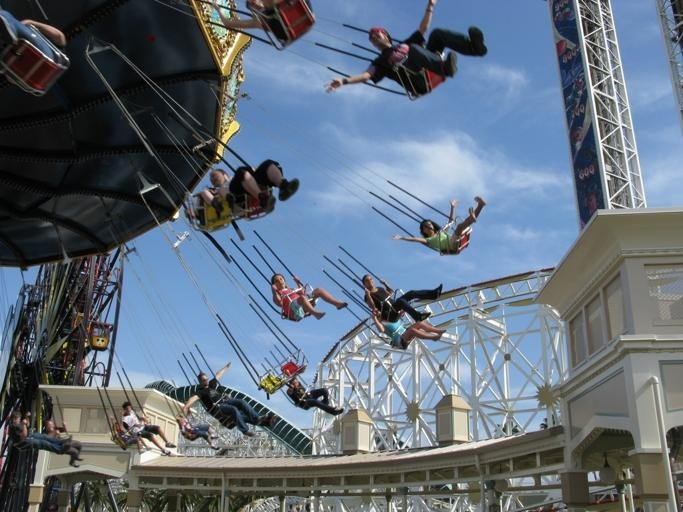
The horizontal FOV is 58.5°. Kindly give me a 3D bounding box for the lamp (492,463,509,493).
[{"bbox_3d":[3.732,5.275,14.432,0.480,0.575,2.054,-5,-26,12],"label":"lamp"}]

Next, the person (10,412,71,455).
[{"bbox_3d":[-9.586,5.579,19.048,0.917,0.913,2.299,-13,-28,25],"label":"person"}]

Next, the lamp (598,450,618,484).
[{"bbox_3d":[5.452,4.346,12.499,0.335,0.568,0.662,-10,-26,20],"label":"lamp"}]

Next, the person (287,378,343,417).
[{"bbox_3d":[-0.940,4.388,19.180,1.487,1.223,1.700,8,-26,-17],"label":"person"}]
